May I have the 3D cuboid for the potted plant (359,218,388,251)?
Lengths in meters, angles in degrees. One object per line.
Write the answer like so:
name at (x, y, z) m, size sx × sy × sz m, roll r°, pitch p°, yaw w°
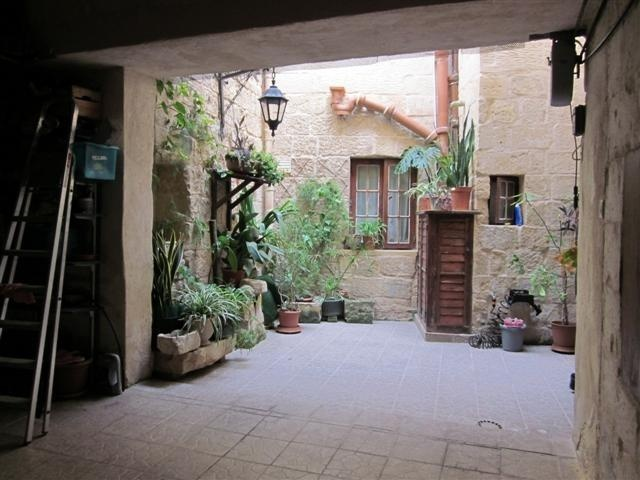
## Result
potted plant at (0.787, -0.083, 6.960) m, size 0.431 × 0.422 × 0.424 m, roll 1°, pitch -5°, yaw -4°

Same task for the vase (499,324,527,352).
vase at (2.179, 1.113, 5.287) m, size 0.249 × 0.261 × 0.292 m, roll 0°, pitch -7°, yaw 5°

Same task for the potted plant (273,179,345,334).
potted plant at (-0.282, 0.109, 6.771) m, size 0.829 × 2.064 × 1.276 m, roll -2°, pitch -3°, yaw 40°

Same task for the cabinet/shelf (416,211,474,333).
cabinet/shelf at (1.581, 0.393, 5.794) m, size 0.645 × 1.459 × 1.579 m, roll 0°, pitch 0°, yaw 5°

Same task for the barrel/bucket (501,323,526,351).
barrel/bucket at (2.187, 1.107, 5.292) m, size 0.254 × 0.258 × 0.287 m, roll 1°, pitch -7°, yaw 1°

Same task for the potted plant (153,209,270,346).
potted plant at (-1.103, 0.505, 4.624) m, size 1.124 × 0.694 × 0.952 m, roll 5°, pitch -1°, yaw -3°

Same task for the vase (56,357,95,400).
vase at (-1.952, 1.111, 3.785) m, size 0.291 × 0.252 × 0.294 m, roll 1°, pitch -5°, yaw -3°

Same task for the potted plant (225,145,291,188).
potted plant at (-0.767, -0.869, 5.366) m, size 0.443 × 0.251 × 0.548 m, roll 13°, pitch 0°, yaw 33°

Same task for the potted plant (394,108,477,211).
potted plant at (1.535, -0.995, 6.228) m, size 0.999 × 1.332 × 1.202 m, roll -1°, pitch -2°, yaw 14°

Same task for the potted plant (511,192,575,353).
potted plant at (2.675, 0.348, 5.532) m, size 0.681 × 1.871 × 0.456 m, roll -2°, pitch -2°, yaw 27°

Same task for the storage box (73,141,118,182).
storage box at (-1.826, -0.682, 3.798) m, size 0.416 × 0.309 × 0.316 m, roll 25°, pitch 21°, yaw 38°

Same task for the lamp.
lamp at (-0.815, -1.684, 5.487) m, size 0.788 × 0.883 × 1.196 m, roll 0°, pitch -2°, yaw -13°
